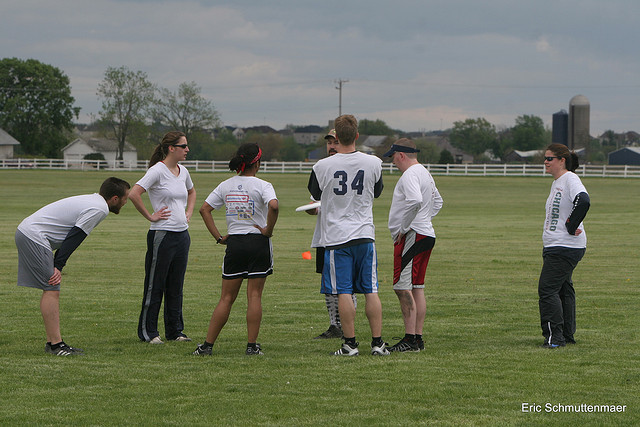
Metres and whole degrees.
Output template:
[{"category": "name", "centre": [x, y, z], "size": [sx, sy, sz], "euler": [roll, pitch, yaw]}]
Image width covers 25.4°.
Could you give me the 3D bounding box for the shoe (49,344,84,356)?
[{"category": "shoe", "centre": [-6.798, 3.706, 38.361], "size": [0.958, 0.326, 0.299], "euler": [1, 1, -3]}]

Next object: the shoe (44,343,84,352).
[{"category": "shoe", "centre": [-6.832, 3.710, 38.430], "size": [1.070, 0.393, 0.332], "euler": [2, 6, -8]}]

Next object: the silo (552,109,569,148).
[{"category": "silo", "centre": [15.192, -5.404, 90.201], "size": [0.958, 2.057, 2.978], "euler": [0, 3, 9]}]

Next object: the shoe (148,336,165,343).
[{"category": "shoe", "centre": [-4.393, 3.463, 38.781], "size": [0.414, 0.259, 0.126], "euler": [8, -37, 10]}]

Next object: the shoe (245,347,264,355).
[{"category": "shoe", "centre": [-1.774, 3.734, 38.342], "size": [0.553, 0.274, 0.181], "euler": [1, 0, -8]}]

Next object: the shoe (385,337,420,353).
[{"category": "shoe", "centre": [2.285, 3.623, 38.710], "size": [1.071, 0.391, 0.334], "euler": [2, -5, 3]}]

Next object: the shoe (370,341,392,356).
[{"category": "shoe", "centre": [1.665, 3.656, 38.447], "size": [0.559, 0.383, 0.213], "euler": [0, 3, 5]}]

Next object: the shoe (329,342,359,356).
[{"category": "shoe", "centre": [0.685, 3.678, 38.355], "size": [0.739, 0.337, 0.145], "euler": [0, 3, 0]}]
